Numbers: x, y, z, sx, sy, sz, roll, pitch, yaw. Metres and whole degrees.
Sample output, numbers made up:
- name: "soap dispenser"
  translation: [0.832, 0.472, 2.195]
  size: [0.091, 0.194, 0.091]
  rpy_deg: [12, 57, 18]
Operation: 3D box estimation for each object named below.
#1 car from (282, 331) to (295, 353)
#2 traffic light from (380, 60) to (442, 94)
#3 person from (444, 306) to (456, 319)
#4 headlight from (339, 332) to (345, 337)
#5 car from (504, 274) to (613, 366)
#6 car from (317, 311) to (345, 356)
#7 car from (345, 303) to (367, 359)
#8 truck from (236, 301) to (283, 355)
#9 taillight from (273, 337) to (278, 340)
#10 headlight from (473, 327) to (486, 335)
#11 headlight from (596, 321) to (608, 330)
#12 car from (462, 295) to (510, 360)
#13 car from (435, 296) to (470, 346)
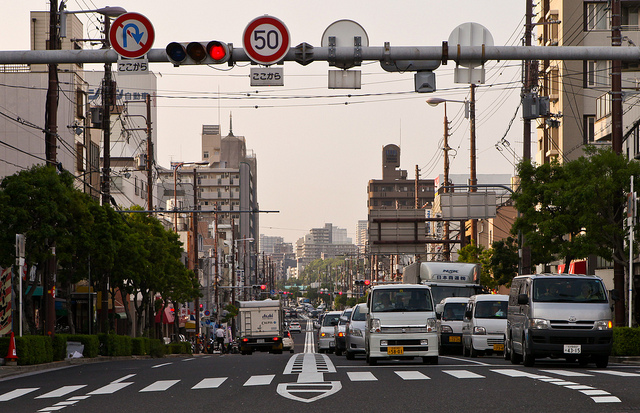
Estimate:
- name: "car"
  translation: [-2.584, 11.130, 96.600]
  size: [0.872, 0.934, 1.994]
  rpy_deg: [0, 2, 1]
- name: "traffic light"
  translation: [3.774, -5.161, 47.913]
  size: [2.099, 1.269, 0.550]
  rpy_deg: [-2, -8, -2]
- name: "person"
  translation: [6.782, 5.658, 63.419]
  size: [0.466, 1.015, 0.507]
  rpy_deg: [3, -12, -17]
- name: "headlight"
  translation: [1.176, 6.981, 65.242]
  size: [0.102, 0.258, 0.459]
  rpy_deg: [2, -11, -29]
- name: "car"
  translation: [10.122, 4.800, 51.725]
  size: [4.543, 3.993, 2.656]
  rpy_deg: [-6, -9, 22]
- name: "car"
  translation: [0.665, 7.767, 74.416]
  size: [1.298, 1.756, 3.122]
  rpy_deg: [0, -12, -5]
- name: "car"
  translation: [1.751, 6.238, 60.178]
  size: [0.995, 2.811, 2.590]
  rpy_deg: [-2, -9, 1]
- name: "truck"
  translation: [-3.881, 8.506, 84.171]
  size: [2.786, 3.859, 5.944]
  rpy_deg: [-3, -3, 5]
- name: "taillight"
  translation: [-3.000, 8.990, 81.319]
  size: [0.183, 0.153, 0.111]
  rpy_deg: [0, -5, 4]
- name: "headlight"
  translation: [7.785, 6.176, 59.200]
  size: [0.349, 0.291, 0.386]
  rpy_deg: [2, 0, 1]
- name: "headlight"
  translation: [11.775, 5.046, 50.599]
  size: [0.331, 0.374, 0.089]
  rpy_deg: [-1, 2, 3]
- name: "car"
  translation: [8.148, 5.959, 59.825]
  size: [2.149, 3.189, 2.381]
  rpy_deg: [-4, -9, 13]
- name: "car"
  translation: [6.870, 5.962, 62.594]
  size: [1.669, 1.906, 2.855]
  rpy_deg: [0, -9, -2]
